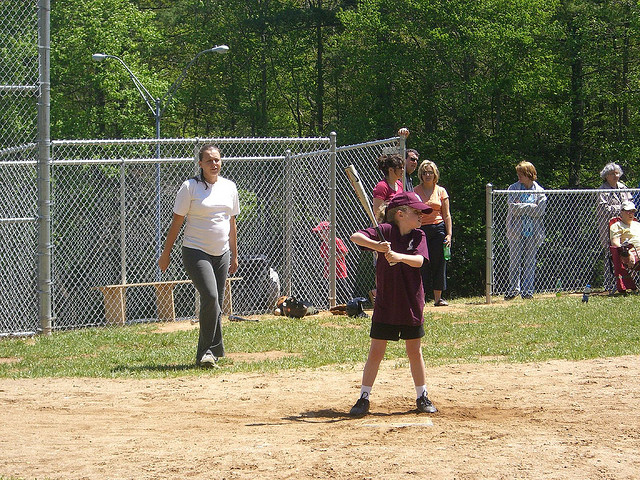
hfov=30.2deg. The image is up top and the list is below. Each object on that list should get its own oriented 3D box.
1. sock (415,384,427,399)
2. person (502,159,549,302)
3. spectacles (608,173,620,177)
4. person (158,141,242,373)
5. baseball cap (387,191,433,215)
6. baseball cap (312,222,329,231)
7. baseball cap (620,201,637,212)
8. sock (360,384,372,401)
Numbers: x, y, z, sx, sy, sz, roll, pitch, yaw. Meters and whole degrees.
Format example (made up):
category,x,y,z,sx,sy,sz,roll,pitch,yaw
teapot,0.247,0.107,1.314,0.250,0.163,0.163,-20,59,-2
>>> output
category,x,y,z,sx,sy,sz,roll,pitch,yaw
sock,1.515,2.249,17.673,0.171,0.255,0.170,-1,2,1
person,4.106,-0.187,23.719,0.849,2.799,0.749,-1,-2,8
spectacles,6.066,-1.344,24.354,0.198,0.079,0.058,0,-2,-16
person,-1.898,0.283,19.335,1.246,3.680,0.593,0,-2,-15
baseball cap,1.369,-0.552,17.682,0.519,0.258,0.324,1,0,10
baseball cap,0.064,-0.287,23.167,0.428,0.136,0.178,-2,-2,42
baseball cap,6.099,-0.685,23.470,0.278,0.209,0.427,-1,-2,13
sock,0.686,2.258,17.699,0.161,0.230,0.242,-1,-2,1
